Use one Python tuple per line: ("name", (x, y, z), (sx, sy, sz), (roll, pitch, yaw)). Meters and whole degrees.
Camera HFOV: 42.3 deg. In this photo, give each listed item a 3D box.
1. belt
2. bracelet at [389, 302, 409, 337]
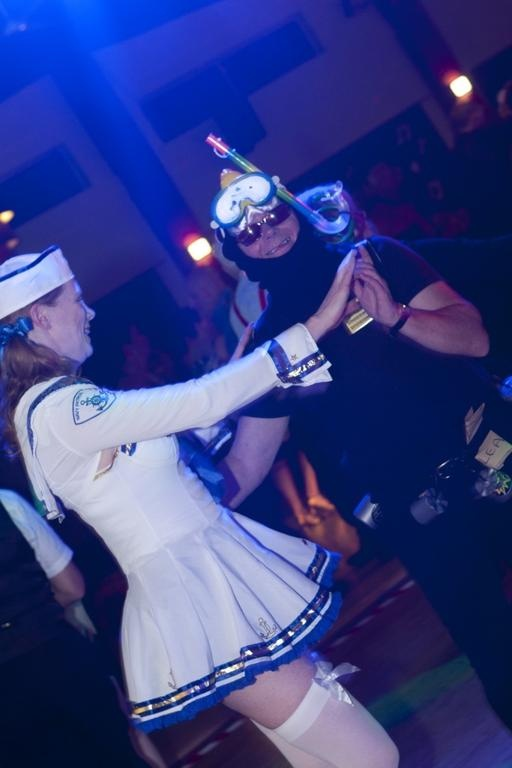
("belt", (0.732, 0.246, 2.346), (0.210, 0.243, 0.088), (2, 8, 6))
("bracelet", (0.460, -0.210, 2.124), (0.032, 0.081, 0.084), (24, 29, 1))
